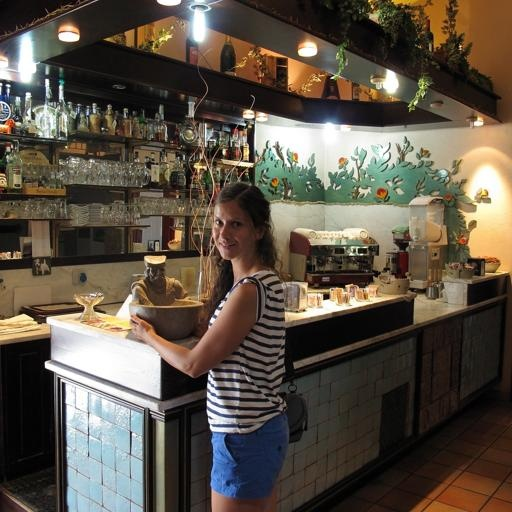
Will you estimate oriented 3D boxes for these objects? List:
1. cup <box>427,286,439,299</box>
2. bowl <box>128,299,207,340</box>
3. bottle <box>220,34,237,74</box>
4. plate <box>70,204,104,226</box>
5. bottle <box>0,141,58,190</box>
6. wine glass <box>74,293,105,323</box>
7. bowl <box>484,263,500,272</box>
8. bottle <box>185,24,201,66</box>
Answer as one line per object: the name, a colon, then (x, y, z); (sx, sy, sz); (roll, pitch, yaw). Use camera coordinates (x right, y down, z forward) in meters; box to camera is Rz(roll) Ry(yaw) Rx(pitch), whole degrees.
cup: (1.644, 0.334, 4.367); (0.079, 0.136, 0.146); (0, 2, -23)
bowl: (-0.298, 0.250, 1.675); (0.203, 0.090, 0.192); (-4, -16, -1)
bottle: (-0.256, -1.834, 4.208); (0.146, 0.434, 0.345); (1, 2, -4)
plate: (-1.241, -0.303, 3.399); (0.224, 0.162, 0.087); (0, 2, -19)
bottle: (-1.548, -0.611, 3.165); (0.183, 0.345, 0.347); (2, 2, 38)
wine glass: (-0.737, 0.230, 2.074); (0.136, 0.107, 0.131); (2, -6, -9)
bowl: (2.261, 0.106, 4.443); (0.188, 0.104, 0.075); (0, 2, -37)
bottle: (-0.504, -1.634, 3.669); (0.086, 0.284, 0.272); (1, 2, -5)
